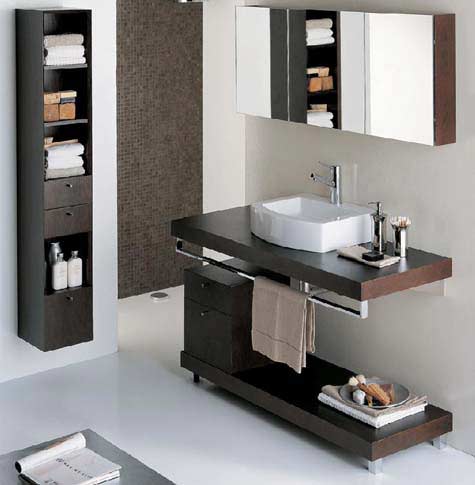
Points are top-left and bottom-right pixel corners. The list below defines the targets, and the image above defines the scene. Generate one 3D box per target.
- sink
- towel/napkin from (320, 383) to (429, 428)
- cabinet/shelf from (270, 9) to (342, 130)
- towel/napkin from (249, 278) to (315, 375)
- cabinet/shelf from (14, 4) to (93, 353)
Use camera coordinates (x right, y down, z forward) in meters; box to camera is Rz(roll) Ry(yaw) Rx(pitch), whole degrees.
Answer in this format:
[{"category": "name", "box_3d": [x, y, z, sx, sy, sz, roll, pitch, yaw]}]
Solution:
[{"category": "sink", "box_3d": [0.350, -0.086, 2.539, 0.463, 0.155, 0.624, -10, 15, -39]}, {"category": "towel/napkin", "box_3d": [0.511, 0.669, 2.343, 0.198, 0.055, 0.209, -6, 13, -35]}, {"category": "cabinet/shelf", "box_3d": [0.329, -0.831, 2.675, 0.217, 0.477, 0.444, -11, 20, -28]}, {"category": "towel/napkin", "box_3d": [0.181, 0.343, 2.451, 0.080, 0.335, 0.306, -11, 19, -43]}, {"category": "cabinet/shelf", "box_3d": [-0.920, -0.290, 2.846, 0.443, 1.658, 0.322, -5, 10, -26]}]
